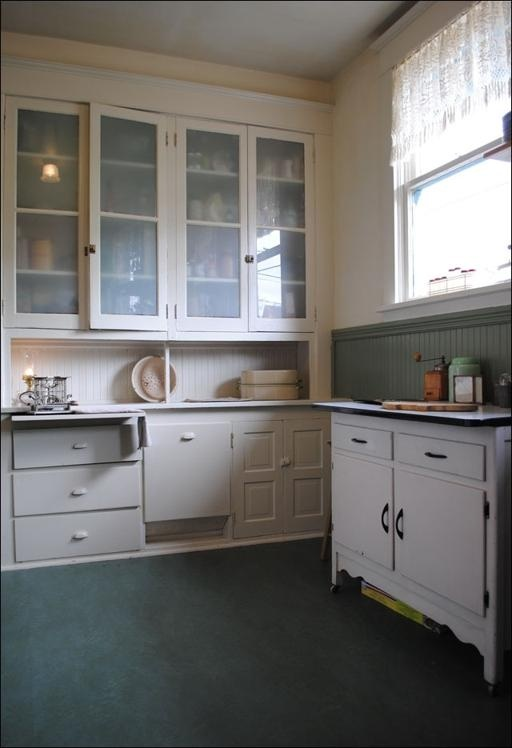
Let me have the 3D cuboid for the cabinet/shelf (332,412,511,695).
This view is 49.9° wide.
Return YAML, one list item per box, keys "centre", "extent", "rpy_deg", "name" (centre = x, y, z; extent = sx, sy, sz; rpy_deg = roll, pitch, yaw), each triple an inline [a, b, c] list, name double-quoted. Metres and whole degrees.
- centre: [0.544, 0.584, 1.769]
  extent: [0.206, 0.671, 0.619]
  rpy_deg: [0, -2, -18]
  name: "cabinet/shelf"

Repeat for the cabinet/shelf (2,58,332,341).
- centre: [-0.548, -0.951, 2.989]
  extent: [1.126, 1.178, 0.338]
  rpy_deg: [0, 0, -22]
  name: "cabinet/shelf"

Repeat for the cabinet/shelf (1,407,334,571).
- centre: [-0.414, 0.558, 2.914]
  extent: [1.712, 0.755, 0.234]
  rpy_deg: [0, -1, -25]
  name: "cabinet/shelf"

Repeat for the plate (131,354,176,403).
- centre: [-0.640, 0.026, 3.252]
  extent: [0.188, 0.271, 0.144]
  rpy_deg: [0, -1, -15]
  name: "plate"
